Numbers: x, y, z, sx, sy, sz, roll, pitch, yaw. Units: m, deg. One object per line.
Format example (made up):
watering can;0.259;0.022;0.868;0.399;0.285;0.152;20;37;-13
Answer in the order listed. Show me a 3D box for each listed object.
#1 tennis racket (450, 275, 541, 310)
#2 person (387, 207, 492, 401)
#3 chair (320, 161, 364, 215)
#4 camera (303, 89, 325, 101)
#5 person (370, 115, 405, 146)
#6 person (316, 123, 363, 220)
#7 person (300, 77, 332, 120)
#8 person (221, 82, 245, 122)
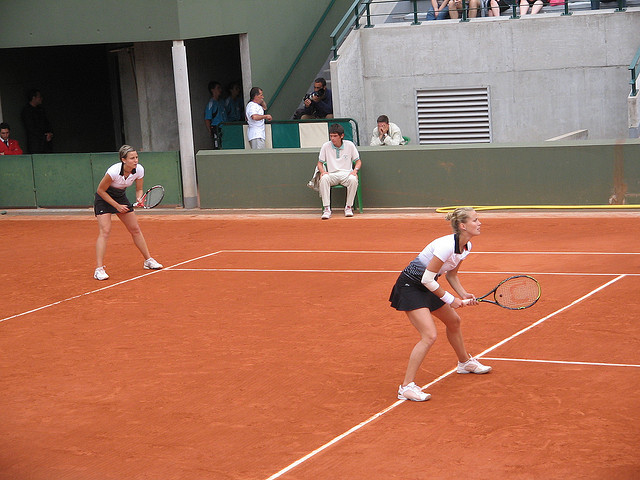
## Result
tennis racket;1.511;0.553;5.784;1.231;0.320;0.066;-9;-1;-15
person;1.151;0.560;5.915;0.936;1.821;1.034;0;15;14
chair;0.638;-1.311;15.391;1.447;1.581;1.219;-1;-6;5
camera;-0.301;-4.608;18.704;0.651;0.216;0.452;-26;8;8
person;1.630;-2.816;15.491;0.770;1.027;0.905;-1;2;24
person;0.417;-1.689;14.693;1.024;2.246;0.558;-4;16;0
person;-0.123;-4.426;18.696;1.085;1.196;0.833;-9;15;-17
person;-2.880;-4.537;19.677;0.703;1.227;1.986;-5;14;-3
